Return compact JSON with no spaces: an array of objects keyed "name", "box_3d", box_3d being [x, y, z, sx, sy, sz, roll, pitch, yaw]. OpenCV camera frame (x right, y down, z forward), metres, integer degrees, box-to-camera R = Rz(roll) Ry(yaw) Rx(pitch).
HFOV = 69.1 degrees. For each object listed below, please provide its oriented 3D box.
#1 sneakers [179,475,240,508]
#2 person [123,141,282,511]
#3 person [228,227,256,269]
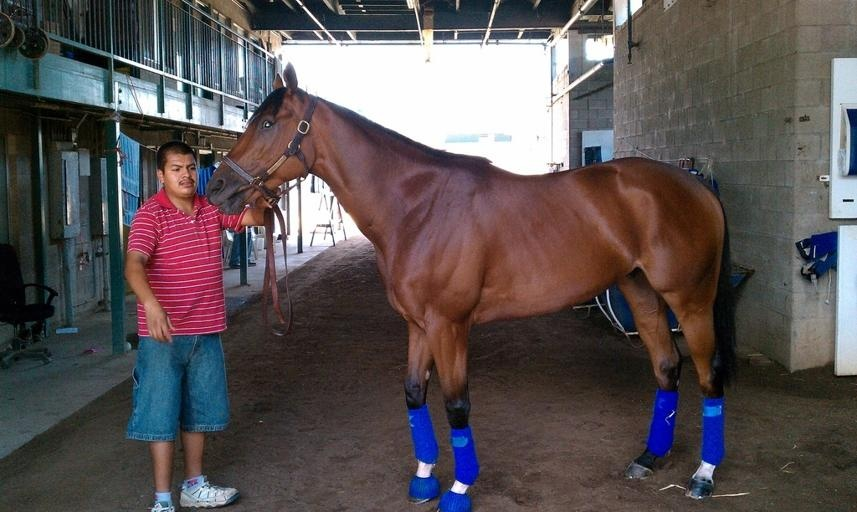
[{"name":"sneakers","box_3d":[-1.839,1.990,5.352,0.512,0.267,0.215,-1,2,-2]},{"name":"person","box_3d":[-2.013,0.585,5.128,0.851,3.069,0.632,-5,6,-42]},{"name":"person","box_3d":[-4.281,-0.184,15.344,0.627,0.700,0.619,-20,16,6]}]
